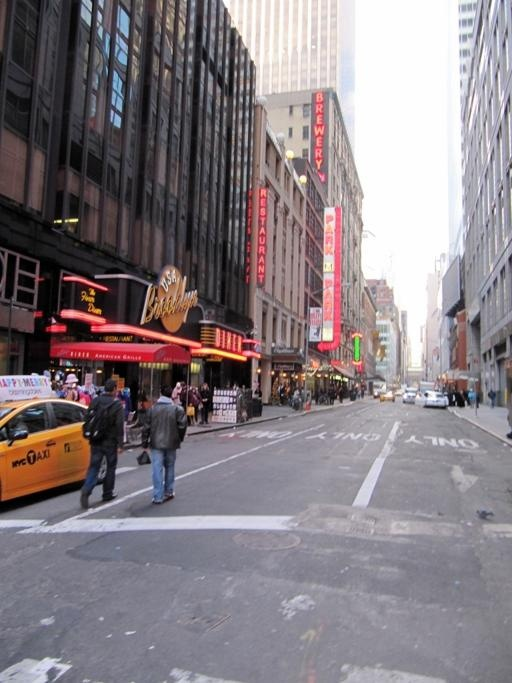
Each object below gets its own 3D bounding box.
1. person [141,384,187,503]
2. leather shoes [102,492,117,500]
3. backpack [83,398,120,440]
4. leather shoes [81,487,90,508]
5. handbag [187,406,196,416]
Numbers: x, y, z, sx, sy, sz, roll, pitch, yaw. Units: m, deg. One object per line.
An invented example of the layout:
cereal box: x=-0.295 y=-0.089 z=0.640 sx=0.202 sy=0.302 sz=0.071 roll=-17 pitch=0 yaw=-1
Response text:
person: x=-1.362 y=1.505 z=7.534 sx=0.638 sy=1.703 sz=0.636 roll=1 pitch=-3 yaw=-5
leather shoes: x=-2.244 y=2.363 z=7.802 sx=0.077 sy=0.156 sz=0.248 roll=7 pitch=0 yaw=32
backpack: x=-2.245 y=1.138 z=7.488 sx=0.582 sy=0.719 sz=0.340 roll=2 pitch=-3 yaw=-29
leather shoes: x=-2.424 y=2.194 z=7.201 sx=0.051 sy=0.290 sz=0.147 roll=1 pitch=-6 yaw=-1
handbag: x=-2.675 y=2.856 z=20.846 sx=0.253 sy=0.648 sz=0.352 roll=0 pitch=1 yaw=3
